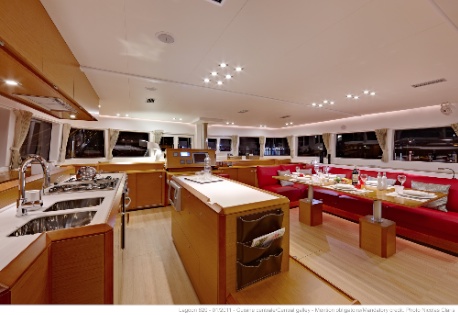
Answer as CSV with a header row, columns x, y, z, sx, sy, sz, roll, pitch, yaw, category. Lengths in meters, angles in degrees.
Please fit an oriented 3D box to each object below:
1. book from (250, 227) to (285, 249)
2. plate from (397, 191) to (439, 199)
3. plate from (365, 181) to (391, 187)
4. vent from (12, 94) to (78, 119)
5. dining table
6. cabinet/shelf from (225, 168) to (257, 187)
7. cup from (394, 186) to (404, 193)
x,y,z,sx,sy,sz,roll,pitch,yaw,category
0.467,0.929,3.170,0.469,0.202,0.140,0,1,-22,book
2.953,0.591,4.330,0.514,0.074,0.379,0,1,24,plate
2.735,0.488,5.113,0.318,0.078,0.290,-1,2,-30,plate
-2.660,-0.763,4.153,0.592,0.148,1.110,0,1,-13,vent
1.990,0.977,4.898,2.314,0.924,0.899,13,15,42,dining table
0.268,0.476,6.761,0.544,0.515,0.177,0,-1,-33,cabinet/shelf
2.887,0.550,4.670,0.133,0.098,0.137,0,-4,0,cup
